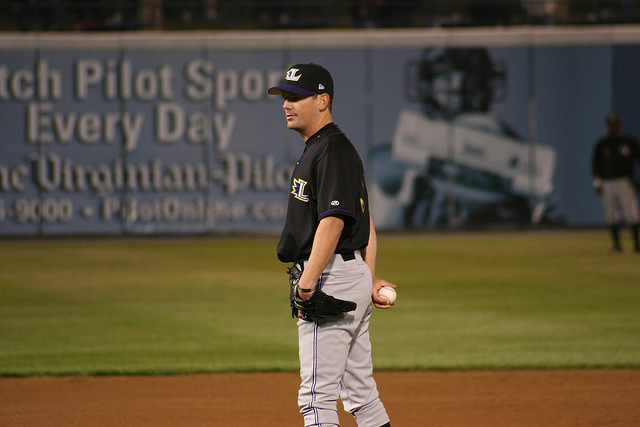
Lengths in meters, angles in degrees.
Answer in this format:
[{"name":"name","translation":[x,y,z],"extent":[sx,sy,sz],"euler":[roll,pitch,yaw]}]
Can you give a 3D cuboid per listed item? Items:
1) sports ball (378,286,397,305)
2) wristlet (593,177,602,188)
[{"name":"sports ball","translation":[1.083,1.260,27.398],"extent":[0.239,0.256,0.250],"euler":[-13,11,2]},{"name":"wristlet","translation":[5.126,-0.487,33.012],"extent":[0.161,0.233,0.151],"euler":[1,2,9]}]
